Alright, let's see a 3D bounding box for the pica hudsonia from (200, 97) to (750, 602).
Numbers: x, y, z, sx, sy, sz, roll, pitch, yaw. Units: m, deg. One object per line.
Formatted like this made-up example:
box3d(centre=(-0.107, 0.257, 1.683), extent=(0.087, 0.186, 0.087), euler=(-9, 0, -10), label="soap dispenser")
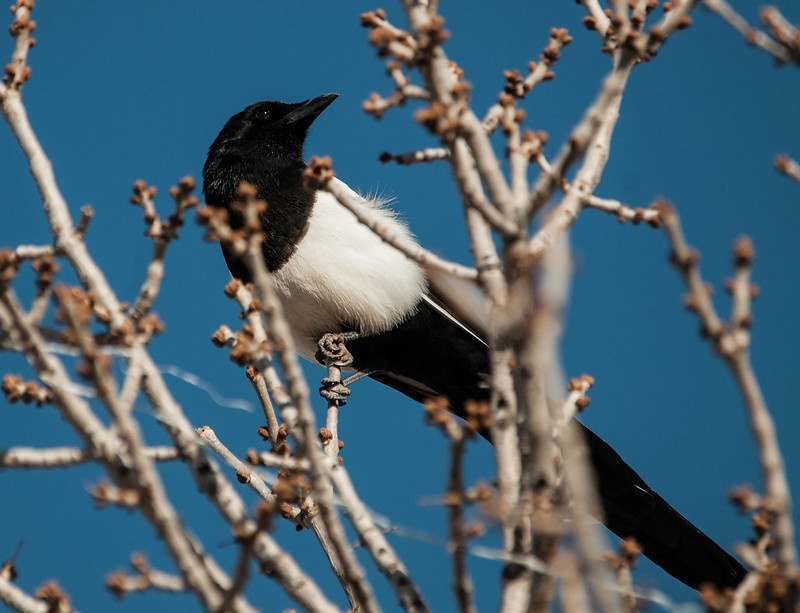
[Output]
box3d(centre=(0.137, 0.175, 4.753), extent=(1.792, 0.858, 0.458), euler=(30, -41, 5), label="pica hudsonia")
